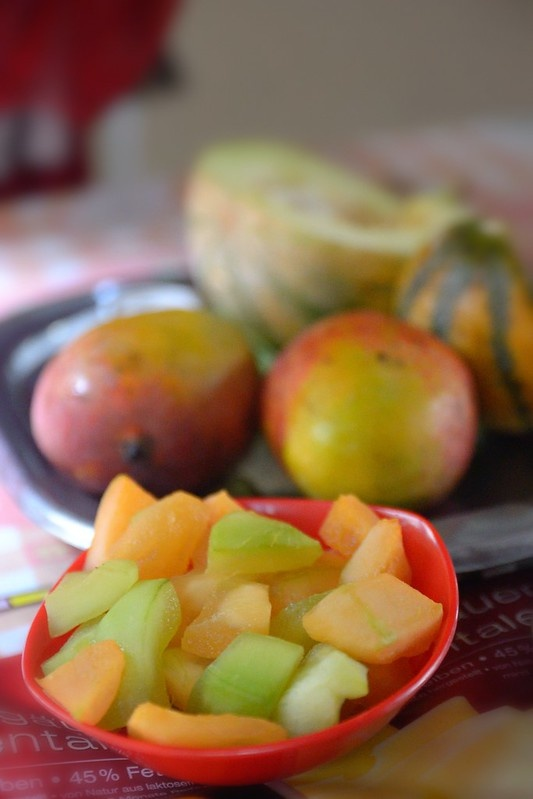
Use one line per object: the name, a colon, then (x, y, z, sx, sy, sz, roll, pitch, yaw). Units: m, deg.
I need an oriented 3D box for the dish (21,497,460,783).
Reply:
dish: (0.003, 0.099, 0.375, 0.147, 0.158, 0.047, 36, 83, -8)

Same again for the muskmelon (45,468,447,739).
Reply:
muskmelon: (-0.011, 0.090, 0.347, 0.132, 0.121, 0.044, 4, 115, 18)

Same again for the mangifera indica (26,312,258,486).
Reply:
mangifera indica: (-0.086, 0.018, 0.559, 0.137, 0.161, 0.113, 15, 79, -5)

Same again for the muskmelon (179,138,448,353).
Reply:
muskmelon: (0.042, -0.103, 0.550, 0.211, 0.157, 0.111, -16, 96, -15)
